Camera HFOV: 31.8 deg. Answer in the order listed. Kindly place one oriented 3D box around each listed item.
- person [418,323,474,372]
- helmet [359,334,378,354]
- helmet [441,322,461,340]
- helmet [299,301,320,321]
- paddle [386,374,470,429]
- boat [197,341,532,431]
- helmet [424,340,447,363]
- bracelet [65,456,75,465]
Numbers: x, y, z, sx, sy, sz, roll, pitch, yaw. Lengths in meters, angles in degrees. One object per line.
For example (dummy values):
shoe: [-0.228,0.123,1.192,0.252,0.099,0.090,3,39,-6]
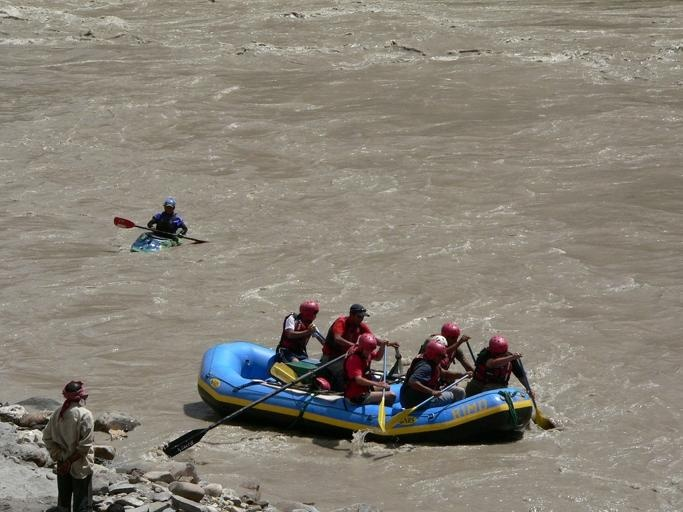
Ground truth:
person: [2.349,2.058,26.761,1.522,1.281,0.621,8,41,3]
helmet: [0.565,1.853,25.419,0.413,0.447,0.268,1,21,1]
helmet: [2.510,1.616,26.252,0.574,0.323,0.293,1,35,-7]
helmet: [-0.719,1.199,26.677,0.382,0.442,0.348,-1,19,-5]
paddle: [1.855,3.108,25.469,2.942,0.274,0.181,-21,4,-6]
boat: [0.398,2.851,25.872,6.876,0.806,2.354,1,5,11]
helmet: [1.996,2.010,25.405,0.468,0.472,0.255,1,21,3]
bracelet: [-5.031,3.769,22.175,0.197,0.106,0.040,2,-20,2]
